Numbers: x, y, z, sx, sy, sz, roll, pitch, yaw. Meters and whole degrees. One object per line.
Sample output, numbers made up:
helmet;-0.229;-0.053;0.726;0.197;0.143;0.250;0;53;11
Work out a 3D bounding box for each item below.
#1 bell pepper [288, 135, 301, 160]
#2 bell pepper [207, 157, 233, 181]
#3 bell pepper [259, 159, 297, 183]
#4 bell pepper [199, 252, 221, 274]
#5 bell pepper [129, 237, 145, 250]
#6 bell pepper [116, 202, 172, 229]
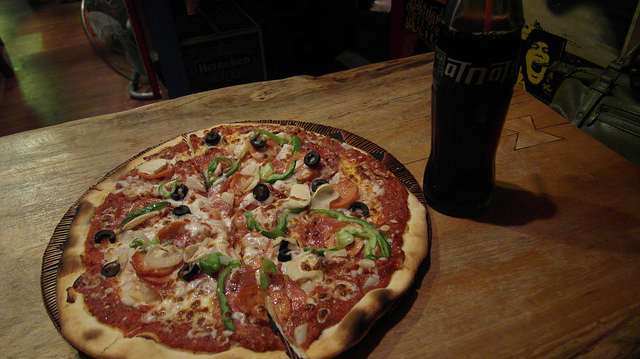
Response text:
bell pepper;-0.201;-0.261;3.642;0.101;0.043;0.154;16;68;27
bell pepper;-0.800;-0.083;3.591;0.153;0.058;0.174;1;62;-3
bell pepper;-0.353;-0.048;3.545;0.185;0.060;0.230;12;48;27
bell pepper;-0.751;0.577;3.097;0.127;0.092;0.121;-22;49;-20
bell pepper;-1.281;0.454;3.172;0.093;0.044;0.070;-27;51;-25
bell pepper;-1.280;0.276;3.325;0.334;0.060;0.080;-22;23;-16
